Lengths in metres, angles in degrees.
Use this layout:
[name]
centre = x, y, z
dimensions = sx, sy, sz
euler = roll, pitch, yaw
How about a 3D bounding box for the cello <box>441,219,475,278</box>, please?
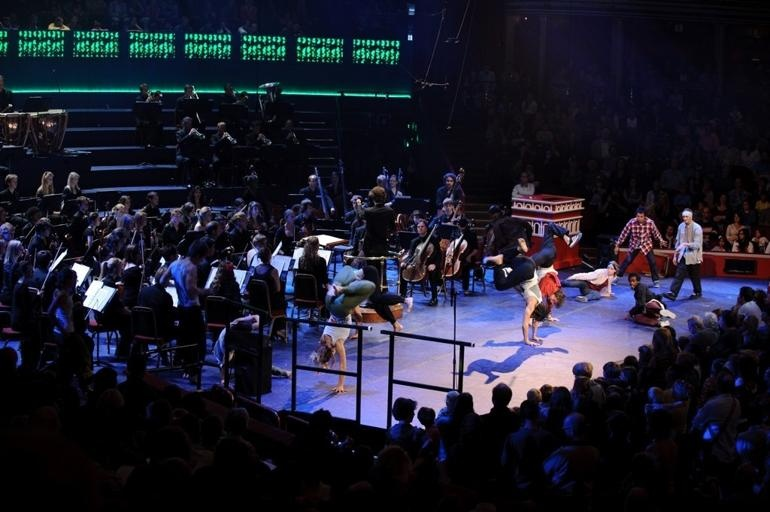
[cello]
centre = 1.838, -0.124, 16.928
dimensions = 0.767, 1.681, 0.641
euler = -5, -18, 21
